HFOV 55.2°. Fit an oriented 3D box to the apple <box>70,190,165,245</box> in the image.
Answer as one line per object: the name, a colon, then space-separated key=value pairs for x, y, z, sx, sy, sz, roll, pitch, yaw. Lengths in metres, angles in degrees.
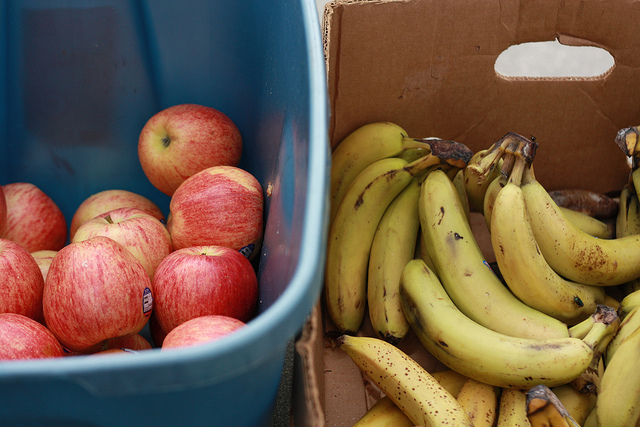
apple: x=-0.395 y=-0.013 z=1.168 sx=0.100 sy=0.087 sz=0.138 roll=-17 pitch=21 yaw=-6

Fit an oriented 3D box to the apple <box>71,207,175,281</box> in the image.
apple: x=-0.348 y=0.016 z=1.104 sx=0.120 sy=0.143 sz=0.130 roll=-20 pitch=8 yaw=-5

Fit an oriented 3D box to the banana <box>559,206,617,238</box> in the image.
banana: x=0.553 y=0.018 z=1.269 sx=0.082 sy=0.030 sz=0.023 roll=28 pitch=-12 yaw=-1

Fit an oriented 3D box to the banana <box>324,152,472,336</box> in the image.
banana: x=0.108 y=0.093 z=1.216 sx=0.212 sy=0.437 sz=0.100 roll=-20 pitch=-41 yaw=24

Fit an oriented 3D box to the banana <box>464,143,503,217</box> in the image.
banana: x=0.317 y=-0.087 z=1.194 sx=0.071 sy=0.042 sz=0.106 roll=-17 pitch=26 yaw=1

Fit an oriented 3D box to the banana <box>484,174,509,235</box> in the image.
banana: x=0.327 y=-0.018 z=1.180 sx=0.037 sy=0.116 sz=0.028 roll=23 pitch=18 yaw=31

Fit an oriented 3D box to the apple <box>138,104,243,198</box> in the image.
apple: x=-0.256 y=-0.106 z=1.214 sx=0.153 sy=0.179 sz=0.161 roll=4 pitch=-22 yaw=-38

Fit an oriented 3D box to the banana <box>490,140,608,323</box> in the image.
banana: x=0.467 y=0.020 z=1.101 sx=0.298 sy=0.209 sz=0.102 roll=22 pitch=0 yaw=16

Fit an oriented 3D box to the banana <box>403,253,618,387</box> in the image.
banana: x=0.333 y=0.201 z=1.102 sx=0.381 sy=0.177 sz=0.107 roll=5 pitch=14 yaw=14

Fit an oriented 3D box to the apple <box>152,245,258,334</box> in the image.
apple: x=-0.191 y=0.115 z=0.988 sx=0.129 sy=0.147 sz=0.143 roll=-3 pitch=-4 yaw=-4

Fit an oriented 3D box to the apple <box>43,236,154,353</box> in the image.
apple: x=-0.367 y=0.132 z=1.006 sx=0.164 sy=0.191 sz=0.158 roll=-20 pitch=-12 yaw=33
